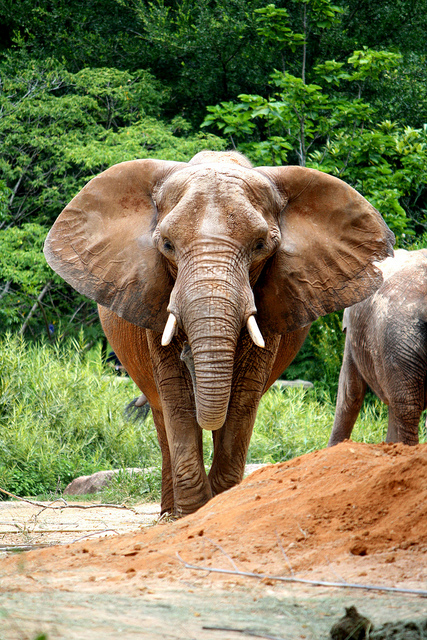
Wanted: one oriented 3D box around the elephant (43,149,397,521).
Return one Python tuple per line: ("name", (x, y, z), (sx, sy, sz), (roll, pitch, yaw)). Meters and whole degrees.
("elephant", (-0.017, 0.147, 4.826), (2.253, 1.972, 2.792), (-1, -10, 1))
